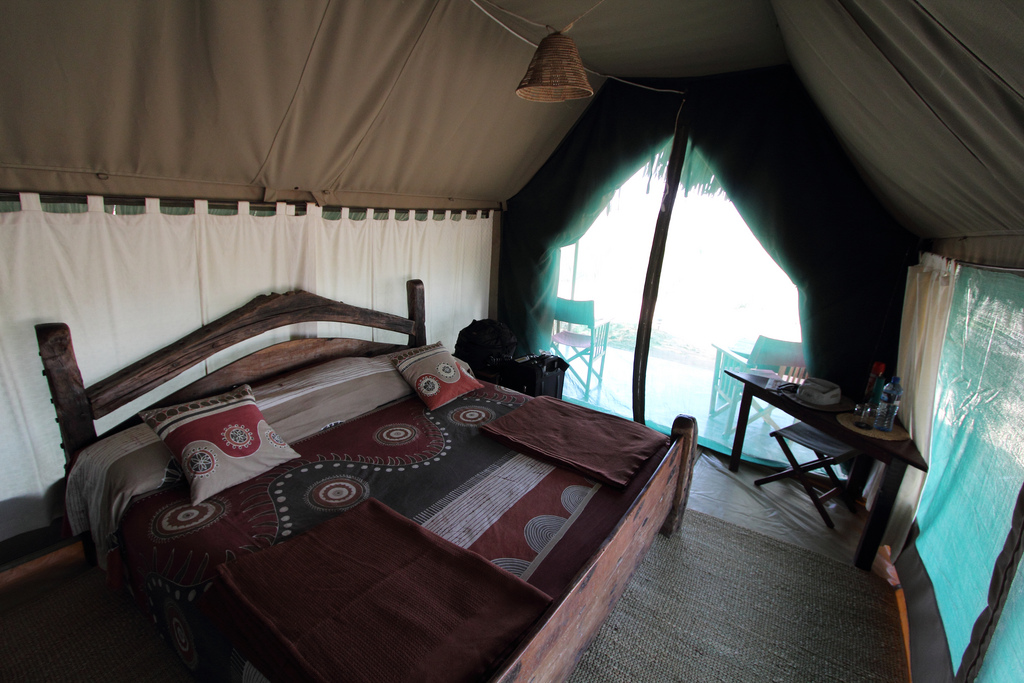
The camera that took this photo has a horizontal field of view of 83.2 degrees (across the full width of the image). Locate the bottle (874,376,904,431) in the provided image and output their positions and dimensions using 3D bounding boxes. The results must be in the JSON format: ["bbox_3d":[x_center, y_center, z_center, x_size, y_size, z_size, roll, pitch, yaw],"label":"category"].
[{"bbox_3d":[2.498,0.402,3.792,0.246,0.346,0.102,-6,11,-25],"label":"bottle"}]

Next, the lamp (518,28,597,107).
[{"bbox_3d":[0.233,-1.503,3.127,0.434,0.402,0.424,-9,32,-20],"label":"lamp"}]

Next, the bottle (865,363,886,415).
[{"bbox_3d":[2.465,0.324,3.895,0.084,0.366,0.083,-8,50,10],"label":"bottle"}]

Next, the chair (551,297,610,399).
[{"bbox_3d":[0.587,0.061,5.607,0.522,0.939,0.458,7,9,13],"label":"chair"}]

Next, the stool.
[{"bbox_3d":[2.193,0.985,4.398,0.629,0.506,0.648,17,1,-38],"label":"stool"}]

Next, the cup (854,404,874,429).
[{"bbox_3d":[2.370,0.503,3.875,0.120,0.153,0.152,9,23,36],"label":"cup"}]

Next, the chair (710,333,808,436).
[{"bbox_3d":[1.964,0.307,4.526,0.516,0.777,0.530,-13,33,-21],"label":"chair"}]

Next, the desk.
[{"bbox_3d":[2.288,0.961,4.113,1.190,0.733,1.091,-20,39,-34],"label":"desk"}]

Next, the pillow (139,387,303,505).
[{"bbox_3d":[-1.657,0.567,3.252,0.614,0.188,0.633,-13,57,-49],"label":"pillow"}]
